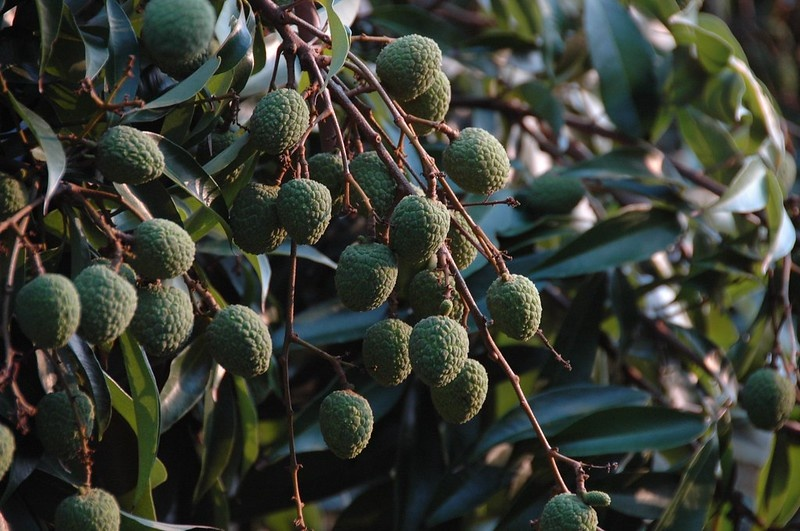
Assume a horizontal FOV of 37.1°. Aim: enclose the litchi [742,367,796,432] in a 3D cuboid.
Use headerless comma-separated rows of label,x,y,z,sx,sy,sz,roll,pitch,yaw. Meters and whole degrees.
litchi,0.521,0.187,1.693,0.055,0.099,0.069,2,0,0
